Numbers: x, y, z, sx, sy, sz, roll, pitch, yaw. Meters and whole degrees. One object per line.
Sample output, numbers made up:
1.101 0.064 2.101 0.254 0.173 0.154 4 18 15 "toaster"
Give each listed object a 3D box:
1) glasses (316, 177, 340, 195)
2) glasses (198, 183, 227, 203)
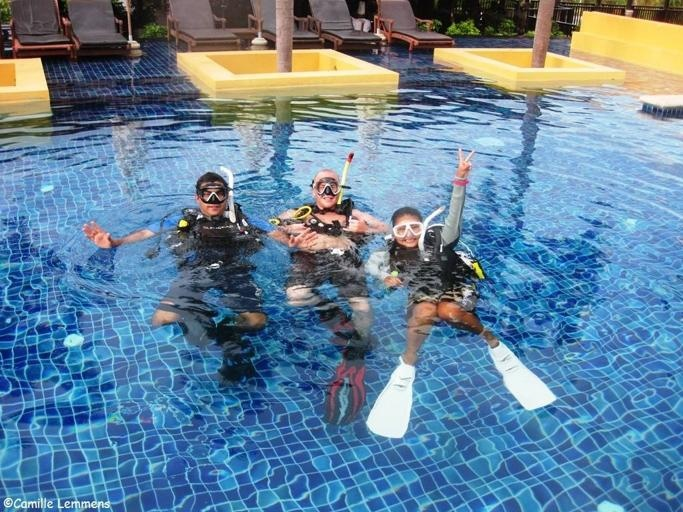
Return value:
-0.142 -0.692 5.146 0.211 0.088 0.195 -2 13 -6 "glasses"
-1.231 -0.593 4.895 0.222 0.102 0.220 -2 1 -16 "glasses"
